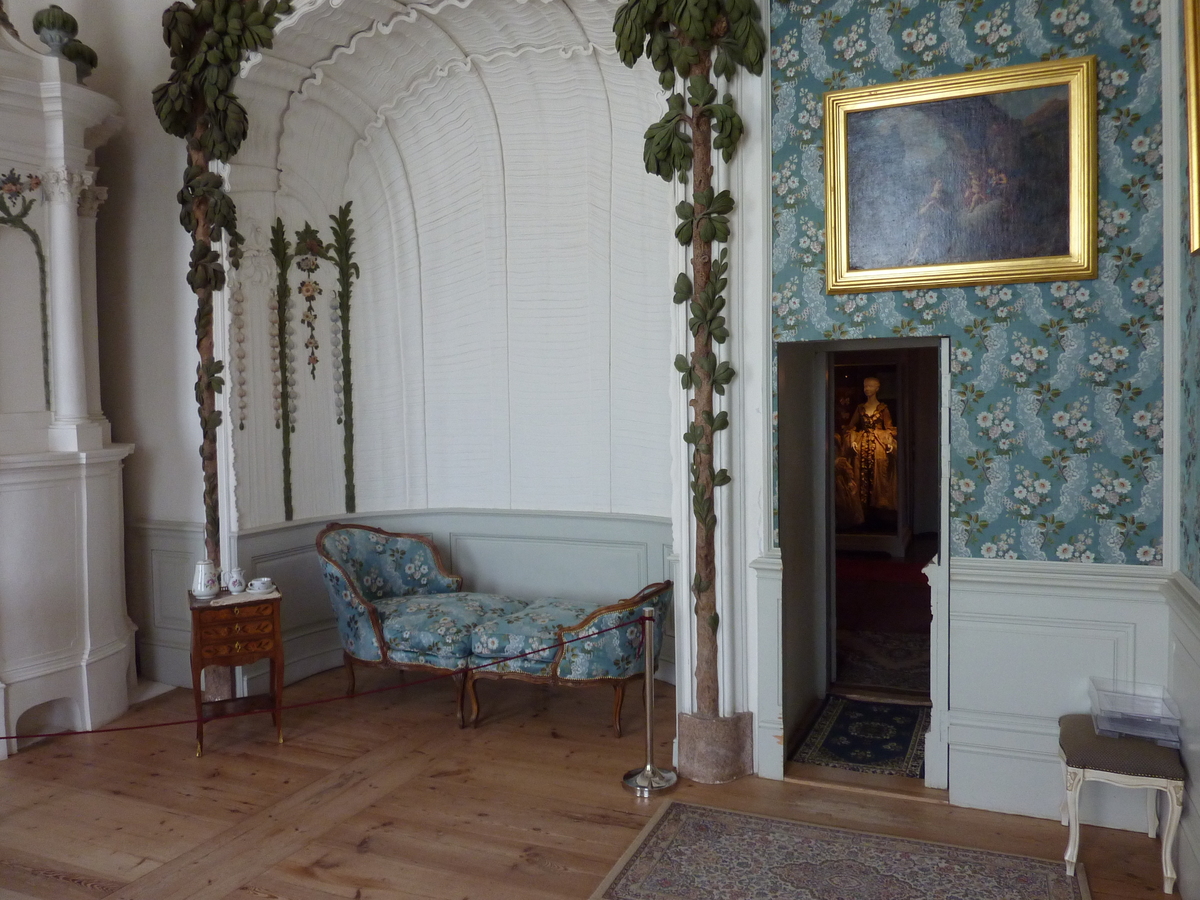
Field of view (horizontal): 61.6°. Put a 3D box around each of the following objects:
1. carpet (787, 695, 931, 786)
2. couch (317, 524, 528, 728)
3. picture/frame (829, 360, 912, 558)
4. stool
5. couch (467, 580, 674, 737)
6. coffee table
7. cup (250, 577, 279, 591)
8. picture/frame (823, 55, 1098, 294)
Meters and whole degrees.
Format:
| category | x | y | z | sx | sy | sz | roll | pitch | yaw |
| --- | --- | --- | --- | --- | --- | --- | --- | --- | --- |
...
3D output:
| category | x | y | z | sx | sy | sz | roll | pitch | yaw |
| --- | --- | --- | --- | --- | --- | --- | --- | --- | --- |
| carpet | 1.678 | 1.814 | 6.405 | 0.756 | 0.051 | 1.260 | 3 | 11 | 21 |
| couch | -1.252 | 1.202 | 7.243 | 1.457 | 1.209 | 1.238 | 3 | 4 | 33 |
| picture/frame | 2.892 | 0.079 | 10.845 | 0.720 | 1.981 | 0.560 | 1 | 10 | 14 |
| stool | 2.503 | 1.670 | 5.030 | 0.687 | 0.735 | 0.622 | 2 | 5 | 29 |
| couch | -0.229 | 1.290 | 6.808 | 1.135 | 0.890 | 0.923 | 0 | -2 | 13 |
| coffee table | -2.399 | 1.361 | 6.654 | 0.575 | 0.955 | 0.789 | -5 | 10 | -20 |
| cup | -2.258 | 0.892 | 6.734 | 0.153 | 0.070 | 0.147 | -1 | 3 | 0 |
| picture/frame | 1.997 | -1.493 | 5.416 | 1.246 | 1.087 | 0.087 | 0 | -1 | 18 |
